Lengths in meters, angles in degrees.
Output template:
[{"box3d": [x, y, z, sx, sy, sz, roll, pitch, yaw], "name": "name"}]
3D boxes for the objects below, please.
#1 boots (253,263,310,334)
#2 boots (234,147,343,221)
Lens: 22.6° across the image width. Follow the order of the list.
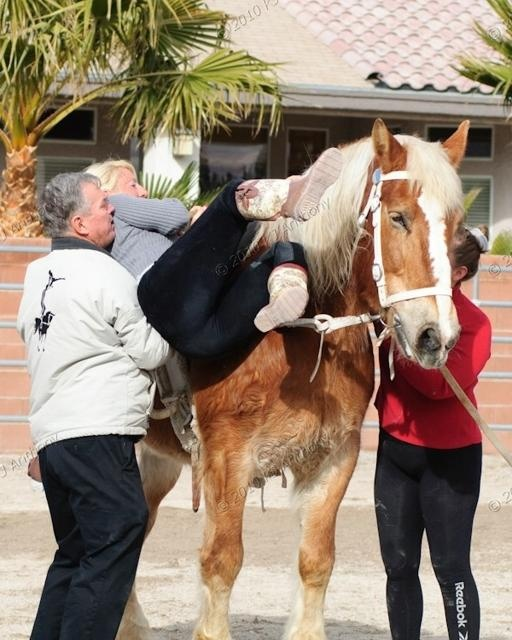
[{"box3d": [0.088, -0.078, 4.749, 0.190, 0.245, 0.186, 1, 8, -1], "name": "boots"}, {"box3d": [0.105, -0.466, 4.713, 0.500, 0.167, 0.224, -29, 18, -27], "name": "boots"}]
